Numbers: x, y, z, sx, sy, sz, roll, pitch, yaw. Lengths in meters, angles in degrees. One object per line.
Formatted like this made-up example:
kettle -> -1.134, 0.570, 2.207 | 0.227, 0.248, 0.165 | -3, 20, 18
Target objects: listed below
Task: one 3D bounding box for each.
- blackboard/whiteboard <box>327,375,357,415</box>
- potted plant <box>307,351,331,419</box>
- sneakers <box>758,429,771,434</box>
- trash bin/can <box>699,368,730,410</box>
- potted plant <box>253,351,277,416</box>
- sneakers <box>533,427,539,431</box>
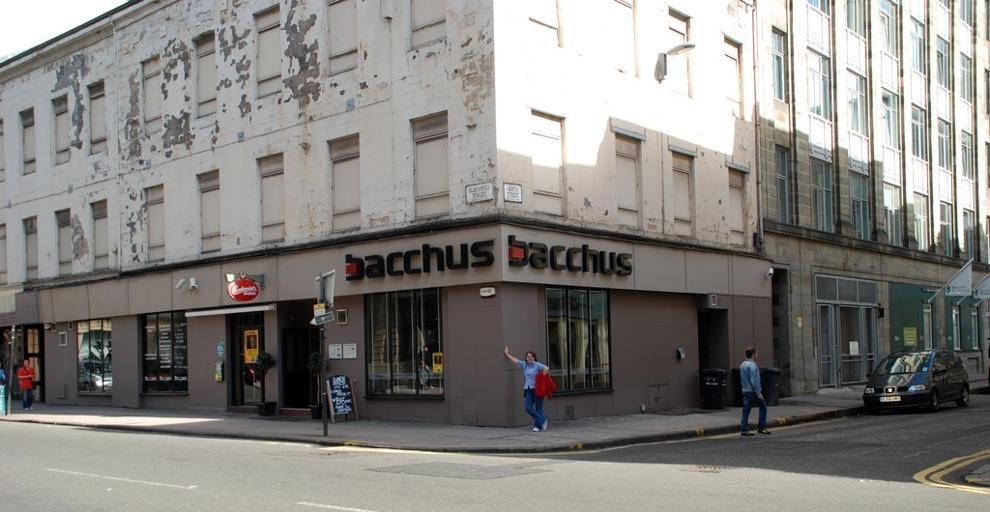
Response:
blackboard/whiteboard -> -7.248, 6.572, 48.554 | 0.644, 1.909, 1.591 | -11, -17, 31
potted plant -> -8.767, 6.270, 50.252 | 0.630, 3.351, 1.658 | 1, -15, -12
sneakers -> 12.014, 7.834, 45.889 | 0.615, 0.239, 0.202 | -2, -2, 9
trash bin/can -> 10.674, 6.713, 51.568 | 1.868, 2.355, 1.820 | -3, -5, 16
potted plant -> -11.369, 6.390, 51.368 | 1.016, 3.091, 1.243 | 1, -15, -12
sneakers -> 1.835, 7.698, 45.720 | 0.302, 0.201, 0.341 | -3, -14, 1
